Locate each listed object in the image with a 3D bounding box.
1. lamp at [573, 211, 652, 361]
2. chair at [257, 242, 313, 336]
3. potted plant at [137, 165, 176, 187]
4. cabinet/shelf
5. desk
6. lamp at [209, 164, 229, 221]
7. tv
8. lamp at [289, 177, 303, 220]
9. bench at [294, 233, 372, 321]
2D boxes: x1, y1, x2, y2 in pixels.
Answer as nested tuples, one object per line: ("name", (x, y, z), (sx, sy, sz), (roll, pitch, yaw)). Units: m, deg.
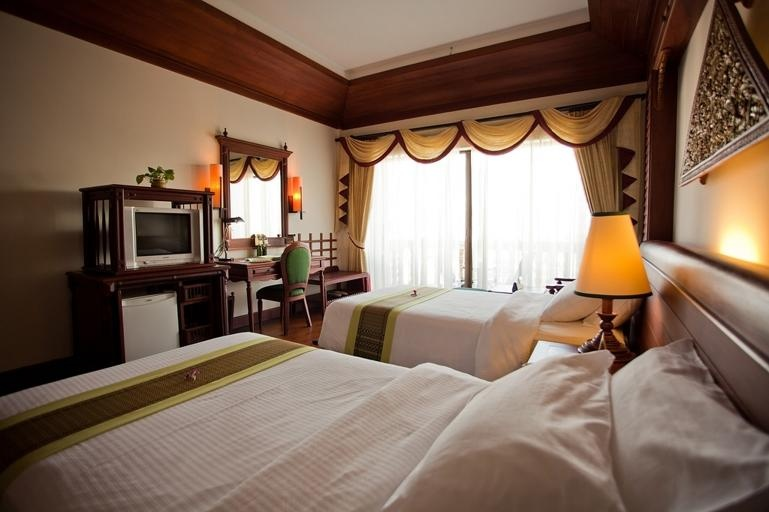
("lamp", (1.314, 0.170, 2.800), (0.422, 0.800, 0.425), (2, 5, 27))
("chair", (-1.130, 0.324, 5.383), (0.496, 0.968, 0.485), (4, 8, 23))
("potted plant", (-2.137, -0.724, 4.397), (0.275, 0.121, 0.279), (5, 8, 38))
("cabinet/shelf", (-2.134, 0.575, 4.456), (0.804, 0.990, 1.106), (6, 12, 34))
("desk", (-1.172, 0.368, 5.432), (0.967, 0.668, 0.577), (-6, 1, -29))
("lamp", (-1.780, -0.693, 5.185), (0.166, 0.591, 0.143), (-6, 11, -27))
("tv", (-2.115, -0.193, 4.411), (0.370, 0.574, 0.702), (7, 9, 39))
("lamp", (-1.117, -0.740, 6.095), (0.238, 0.531, 0.242), (-3, -3, 4))
("bench", (-0.730, 0.165, 6.301), (0.674, 1.179, 0.936), (5, 11, 43))
